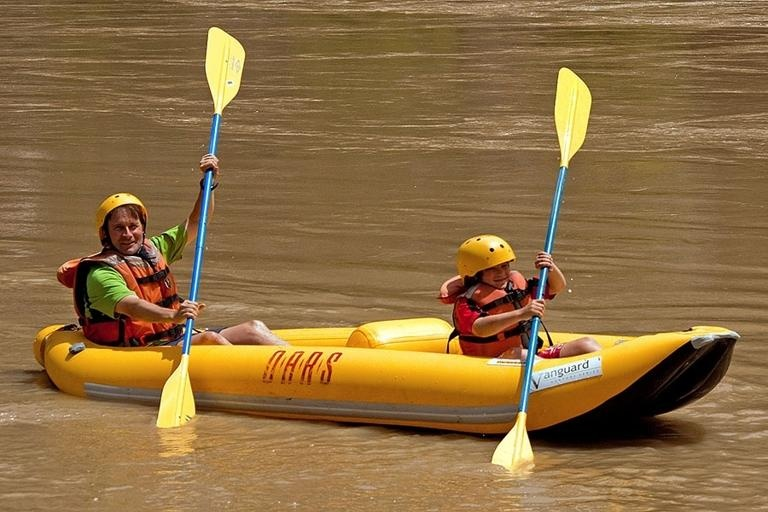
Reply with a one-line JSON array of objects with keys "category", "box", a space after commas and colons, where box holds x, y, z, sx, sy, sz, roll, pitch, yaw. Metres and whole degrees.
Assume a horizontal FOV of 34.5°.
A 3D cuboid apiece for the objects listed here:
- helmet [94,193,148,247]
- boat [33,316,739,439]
[{"category": "helmet", "box": [-2.040, -0.296, 9.600, 0.355, 0.384, 0.471, 2, 9, -12]}, {"category": "boat", "box": [0.161, 0.886, 9.166, 5.823, 0.448, 1.345, 0, -1, 15]}]
